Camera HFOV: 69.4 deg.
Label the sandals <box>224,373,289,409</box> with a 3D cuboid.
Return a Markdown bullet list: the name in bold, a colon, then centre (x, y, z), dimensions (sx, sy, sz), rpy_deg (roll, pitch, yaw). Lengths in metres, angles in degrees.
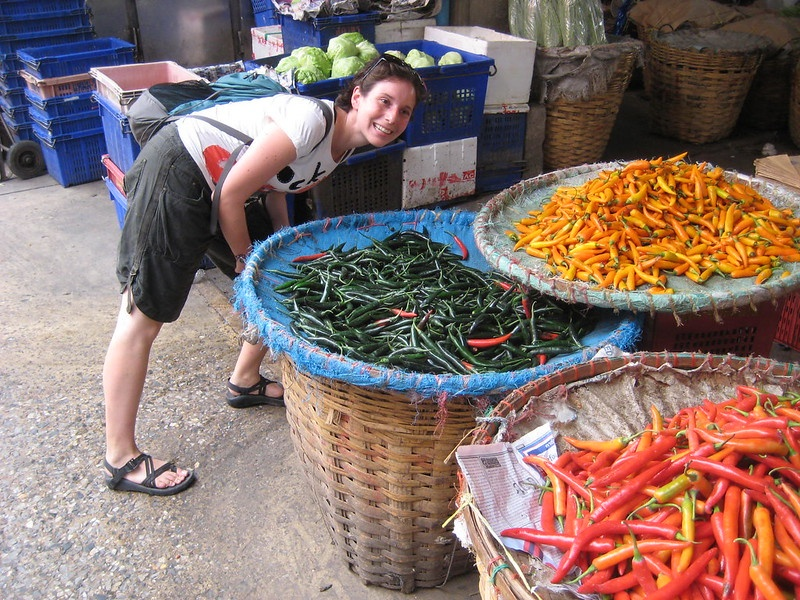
- **sandals**: centre (-0.932, 0.579, 3.751), dimensions (0.450, 0.175, 0.169), rpy_deg (-2, 21, -20)

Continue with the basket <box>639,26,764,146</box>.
- **basket**: centre (3.644, -2.892, 7.550), dimensions (1.616, 1.274, 1.626), rpy_deg (3, 35, 10)

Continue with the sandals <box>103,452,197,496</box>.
- **sandals**: centre (-1.376, 0.956, 3.266), dimensions (0.496, 0.204, 0.204), rpy_deg (1, 14, 2)

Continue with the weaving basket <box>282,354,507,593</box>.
- **weaving basket**: centre (-0.133, 0.713, 2.898), dimensions (1.139, 0.857, 0.964), rpy_deg (7, 17, 4)

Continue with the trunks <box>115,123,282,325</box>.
- **trunks**: centre (-1.106, -0.426, 3.556), dimensions (0.899, 1.428, 1.241), rpy_deg (10, 32, -14)

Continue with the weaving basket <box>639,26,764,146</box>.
- **weaving basket**: centre (3.806, -2.729, 7.627), dimensions (1.616, 1.274, 1.626), rpy_deg (3, 35, 10)

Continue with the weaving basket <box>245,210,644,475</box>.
- **weaving basket**: centre (0.029, 0.297, 2.986), dimensions (1.402, 0.350, 1.326), rpy_deg (-12, 34, -23)
